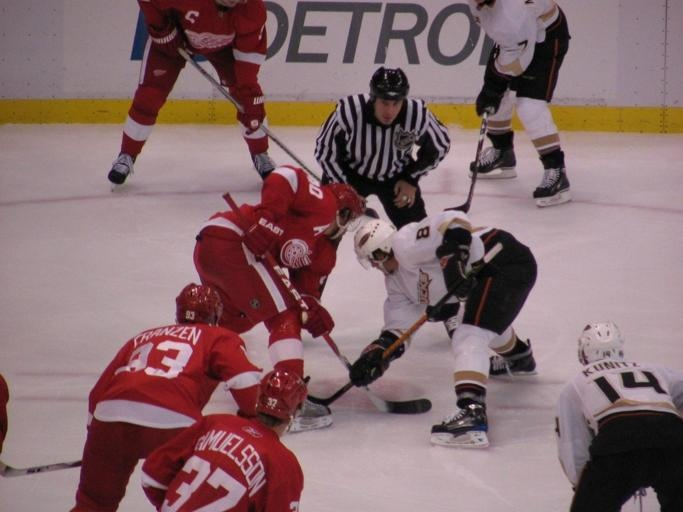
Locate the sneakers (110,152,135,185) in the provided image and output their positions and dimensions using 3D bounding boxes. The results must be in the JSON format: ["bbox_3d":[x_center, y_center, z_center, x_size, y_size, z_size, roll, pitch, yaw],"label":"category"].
[{"bbox_3d":[-1.615,-0.653,5.582,0.111,0.112,0.278,19,31,-9],"label":"sneakers"}]

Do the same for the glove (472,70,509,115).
[{"bbox_3d":[1.116,-1.195,5.670,0.181,0.349,0.123,13,10,-8],"label":"glove"}]

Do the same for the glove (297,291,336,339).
[{"bbox_3d":[-0.146,0.327,4.043,0.133,0.246,0.107,-38,12,-5],"label":"glove"}]

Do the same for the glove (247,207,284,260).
[{"bbox_3d":[-0.408,-0.115,3.857,0.241,0.192,0.092,35,-7,-32],"label":"glove"}]

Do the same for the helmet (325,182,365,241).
[{"bbox_3d":[0.018,-0.264,4.176,0.264,0.272,0.209,-17,26,-19],"label":"helmet"}]

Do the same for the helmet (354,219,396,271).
[{"bbox_3d":[0.172,-0.097,4.134,0.236,0.253,0.201,-9,40,14],"label":"helmet"}]

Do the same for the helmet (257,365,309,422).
[{"bbox_3d":[-0.222,0.553,3.032,0.146,0.199,0.200,13,-9,3],"label":"helmet"}]

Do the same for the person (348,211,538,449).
[{"bbox_3d":[0.517,0.248,4.098,0.964,1.099,1.361,-9,8,8],"label":"person"}]

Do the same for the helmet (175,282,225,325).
[{"bbox_3d":[-0.608,0.210,3.370,0.157,0.183,0.187,5,38,14],"label":"helmet"}]

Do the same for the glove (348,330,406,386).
[{"bbox_3d":[0.189,0.522,4.006,0.326,0.132,0.192,-35,57,-13],"label":"glove"}]

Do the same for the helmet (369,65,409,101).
[{"bbox_3d":[0.292,-1.061,4.761,0.172,0.213,0.233,1,-14,-7],"label":"helmet"}]

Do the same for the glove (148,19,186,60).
[{"bbox_3d":[-1.179,-1.476,5.185,0.258,0.211,0.212,-5,13,-22],"label":"glove"}]

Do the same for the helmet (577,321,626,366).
[{"bbox_3d":[1.141,0.380,3.372,0.153,0.196,0.201,-1,18,8],"label":"helmet"}]

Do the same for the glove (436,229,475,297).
[{"bbox_3d":[0.566,0.039,3.790,0.109,0.224,0.292,4,51,14],"label":"glove"}]

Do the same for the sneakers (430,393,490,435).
[{"bbox_3d":[0.591,0.761,3.646,0.347,0.129,0.254,-5,54,12],"label":"sneakers"}]
